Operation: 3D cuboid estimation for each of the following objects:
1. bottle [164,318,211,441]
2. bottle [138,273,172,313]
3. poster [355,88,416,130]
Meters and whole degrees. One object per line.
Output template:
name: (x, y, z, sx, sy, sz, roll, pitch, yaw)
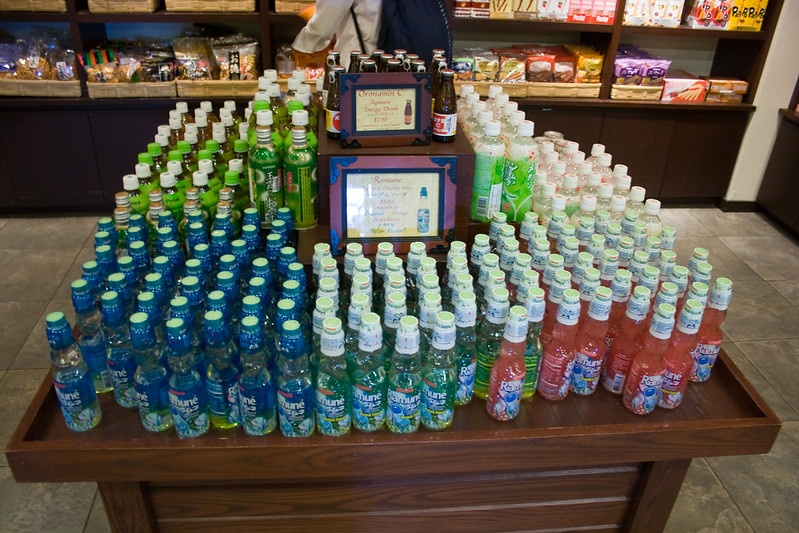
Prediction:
bottle: (-0.609, 0.324, 1.512, 0.099, 0.381, 0.104, 2, 31, -1)
bottle: (-0.762, 0.095, 1.615, 0.080, 0.106, 0.069, -7, -6, -7)
poster: (-0.054, -0.570, 1.876, 0.197, 0.105, 0.017, -2, 32, -1)
